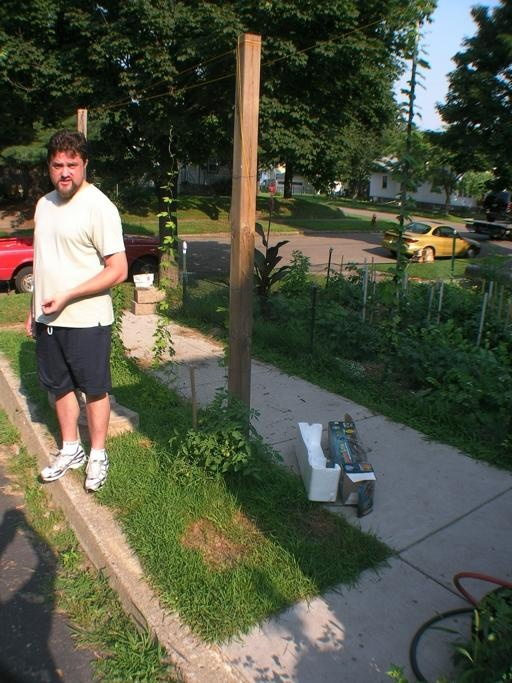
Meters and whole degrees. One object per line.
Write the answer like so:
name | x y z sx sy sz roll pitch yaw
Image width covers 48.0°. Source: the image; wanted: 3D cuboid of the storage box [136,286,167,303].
storage box | -1.662 -0.756 8.968 0.526 0.235 0.279 -6 23 -36

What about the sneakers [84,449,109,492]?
sneakers | -1.003 0.812 3.630 0.104 0.130 0.299 -4 21 -11

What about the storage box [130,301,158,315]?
storage box | -1.871 -0.570 9.570 0.291 0.166 0.293 -5 13 -32

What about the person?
person | -1.080 -0.119 3.488 0.478 2.217 0.548 -6 18 -29
